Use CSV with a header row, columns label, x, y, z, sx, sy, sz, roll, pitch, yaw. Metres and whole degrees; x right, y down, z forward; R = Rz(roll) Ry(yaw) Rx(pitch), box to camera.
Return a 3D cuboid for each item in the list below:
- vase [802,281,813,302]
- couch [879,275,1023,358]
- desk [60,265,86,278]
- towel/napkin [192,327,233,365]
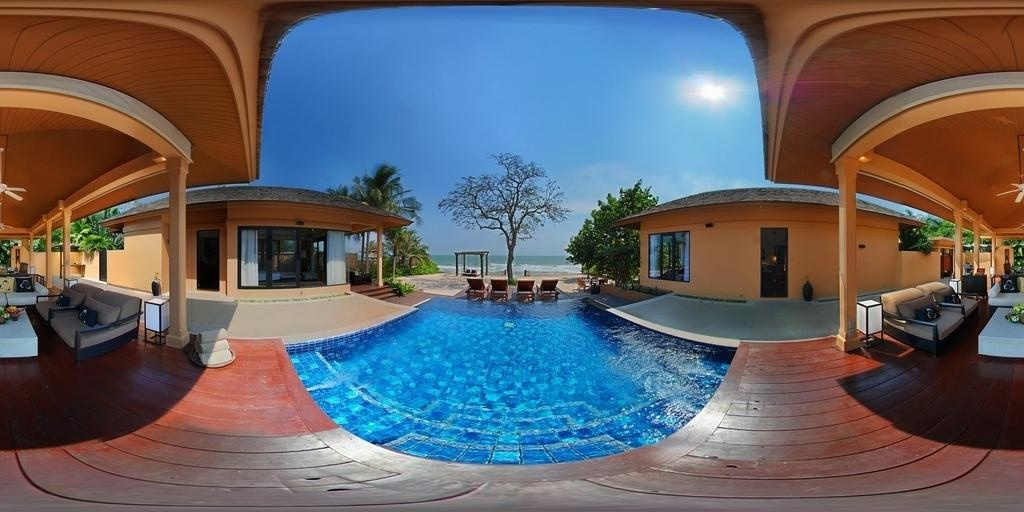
label,x,y,z,sx,sy,sz,roll,pitch,yaw
vase,10.313,1.238,16.916,0.393,0.690,0.182,0,2,2
couch,12.980,1.826,14.132,3.652,1.853,2.618,-1,1,-37
desk,-20.770,0.737,22.955,0.902,0.473,0.402,0,-1,-4
towel/napkin,-8.412,2.501,13.606,0.845,0.521,1.299,1,14,-36
